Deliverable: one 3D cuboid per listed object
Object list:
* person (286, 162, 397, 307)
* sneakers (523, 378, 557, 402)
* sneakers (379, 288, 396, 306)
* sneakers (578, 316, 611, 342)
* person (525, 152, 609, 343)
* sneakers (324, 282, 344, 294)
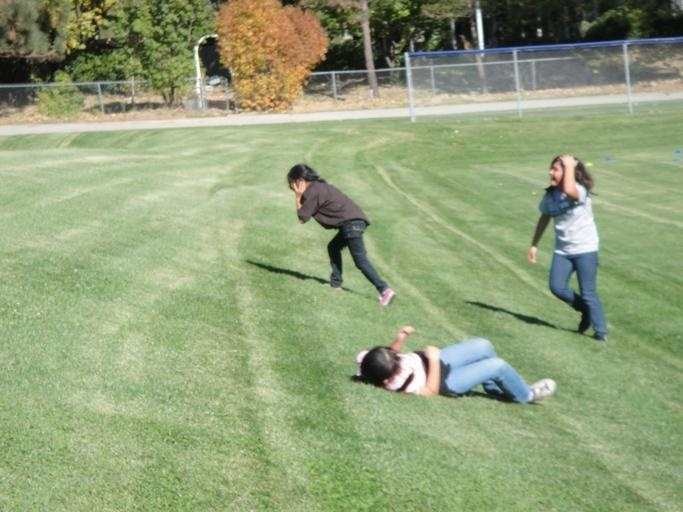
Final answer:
[{"bbox_3d":[-0.044,-0.265,7.242,1.209,1.940,0.575,-5,12,-7],"label":"person"},{"bbox_3d":[1.912,1.289,5.222,0.291,0.173,0.125,-24,-10,-4],"label":"sneakers"},{"bbox_3d":[0.616,0.545,7.296,0.123,0.300,0.136,11,30,-47],"label":"sneakers"},{"bbox_3d":[3.302,0.976,7.138,0.137,0.265,0.367,-20,51,-37],"label":"sneakers"},{"bbox_3d":[2.839,-0.050,6.748,0.892,2.392,0.801,1,13,23],"label":"person"},{"bbox_3d":[-0.102,0.446,7.645,0.267,0.113,0.106,25,-26,8],"label":"sneakers"}]
